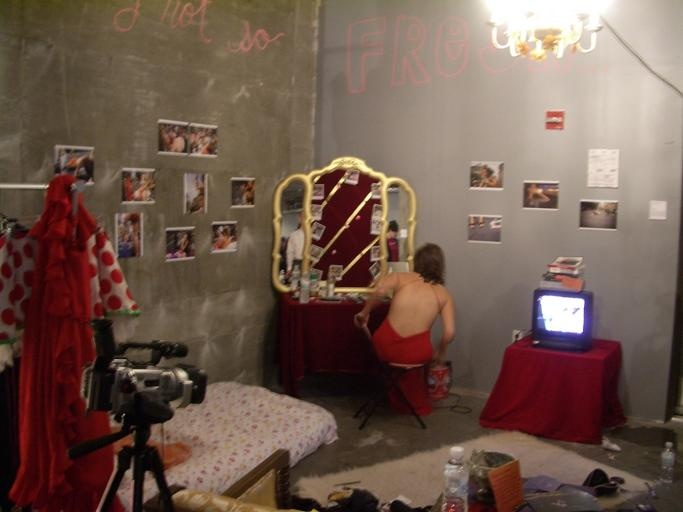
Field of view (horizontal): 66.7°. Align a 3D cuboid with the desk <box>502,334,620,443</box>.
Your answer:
[{"bbox_3d":[1.853,1.271,4.598,0.972,0.690,0.905,2,-20,40],"label":"desk"}]

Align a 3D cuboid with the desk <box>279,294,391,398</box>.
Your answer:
[{"bbox_3d":[-0.164,0.733,5.261,1.102,0.871,0.819,1,2,-4],"label":"desk"}]

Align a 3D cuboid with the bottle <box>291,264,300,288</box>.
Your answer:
[{"bbox_3d":[-0.450,0.178,5.129,0.086,0.249,0.159,0,8,-1],"label":"bottle"}]

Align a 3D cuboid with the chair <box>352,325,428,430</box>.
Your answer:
[{"bbox_3d":[0.430,1.128,5.047,0.811,1.214,0.705,1,0,12],"label":"chair"}]

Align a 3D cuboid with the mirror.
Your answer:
[{"bbox_3d":[-0.011,-0.281,5.174,1.315,1.361,0.097,1,0,-5],"label":"mirror"}]

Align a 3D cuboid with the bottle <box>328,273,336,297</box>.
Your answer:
[{"bbox_3d":[-0.106,0.275,5.200,0.079,0.201,0.144,0,8,-4],"label":"bottle"}]

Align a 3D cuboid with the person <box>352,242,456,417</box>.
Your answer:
[{"bbox_3d":[0.553,0.666,4.627,0.820,1.559,0.660,0,8,-4],"label":"person"}]
